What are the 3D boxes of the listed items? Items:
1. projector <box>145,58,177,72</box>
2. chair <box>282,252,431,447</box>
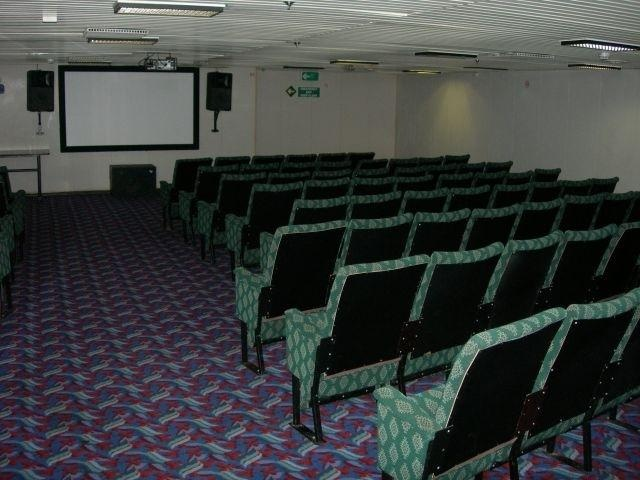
[{"bbox_3d":[-3.232,-3.604,9.464,0.588,0.244,0.502,-3,15,-13],"label":"projector"},{"bbox_3d":[0.233,0.707,3.205,0.788,1.174,0.723,-5,6,-33],"label":"chair"}]
